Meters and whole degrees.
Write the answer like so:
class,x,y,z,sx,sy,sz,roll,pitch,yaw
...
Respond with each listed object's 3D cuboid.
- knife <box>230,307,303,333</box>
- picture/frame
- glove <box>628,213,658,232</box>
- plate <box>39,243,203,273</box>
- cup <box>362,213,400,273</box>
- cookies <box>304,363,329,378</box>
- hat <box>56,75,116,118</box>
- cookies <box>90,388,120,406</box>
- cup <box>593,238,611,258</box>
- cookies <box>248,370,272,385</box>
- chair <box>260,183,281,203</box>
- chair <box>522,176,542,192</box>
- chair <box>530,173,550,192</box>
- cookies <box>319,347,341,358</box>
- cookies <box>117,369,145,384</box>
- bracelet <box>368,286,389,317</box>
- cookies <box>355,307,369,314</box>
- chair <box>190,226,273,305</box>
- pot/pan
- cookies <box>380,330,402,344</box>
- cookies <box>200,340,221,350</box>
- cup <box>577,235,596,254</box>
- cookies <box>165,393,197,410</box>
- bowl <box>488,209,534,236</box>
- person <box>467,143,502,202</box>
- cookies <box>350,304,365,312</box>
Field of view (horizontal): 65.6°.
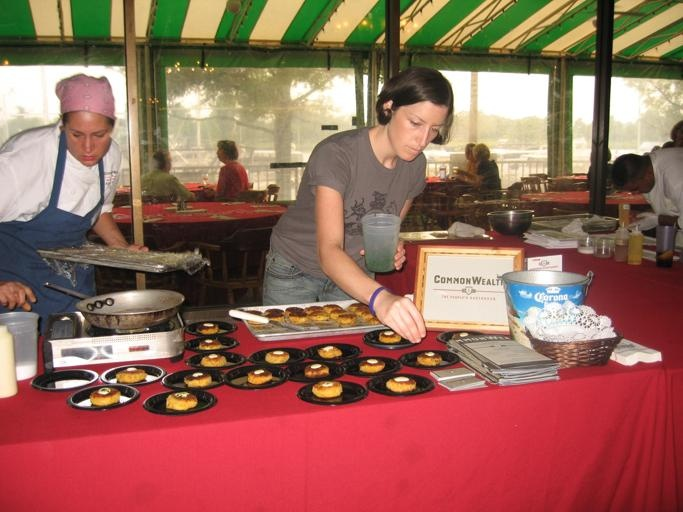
class,x,y,z,sx,sy,sz,roll,pitch,yaw
knife,-0.260,0.222,1.836,0.258,0.022,0.050,11,11,-20
picture/frame,0.429,0.111,1.794,0.046,0.277,0.410,11,-8,-41
glove,1.822,-0.209,3.210,0.134,0.049,0.229,-4,9,44
plate,-0.789,0.005,1.887,0.444,0.077,0.209,5,7,8
cup,0.158,-0.038,1.708,0.190,0.151,0.164,0,2,3
cookies,-0.076,0.329,1.530,0.044,0.011,0.044,4,5,40
hat,-0.957,-0.598,2.007,0.263,0.141,0.173,2,12,17
cookies,-0.629,0.372,1.401,0.069,0.028,0.089,-4,11,-23
cup,1.346,-0.047,2.729,0.115,0.098,0.112,0,-1,0
cookies,-0.237,0.339,1.494,0.045,0.010,0.042,4,8,23
chair,-0.827,-0.733,6.191,0.258,0.235,0.258,-10,22,-29
chair,2.431,-0.925,6.901,0.288,0.210,0.233,-2,2,2
chair,2.580,-0.962,6.893,0.316,0.245,0.235,-2,11,9
cookies,-0.041,0.299,1.649,0.047,0.011,0.036,-2,10,-24
cookies,-0.606,0.342,1.506,0.058,0.013,0.046,5,11,1
bracelet,0.097,0.133,1.592,0.023,0.073,0.078,17,49,-2
cookies,0.070,0.198,1.932,0.056,0.013,0.046,5,8,5
chair,-0.935,0.206,4.404,0.642,0.641,0.612,-2,-3,22
pot/pan,-0.666,0.153,1.622,0.335,0.040,0.186,5,10,23
cookies,0.155,0.267,1.758,0.043,0.011,0.044,12,14,42
cookies,-0.429,0.282,1.701,0.042,0.010,0.038,-3,11,-37
cup,1.300,-0.059,2.832,0.108,0.093,0.109,1,0,0
cookies,-0.421,0.377,1.381,0.079,0.031,0.075,1,10,2
bowl,1.037,-0.210,3.298,0.240,0.092,0.199,-1,3,1
person,1.817,-1.058,6.583,0.471,0.662,0.165,-7,14,-30
cookies,0.054,0.191,1.960,0.056,0.011,0.050,2,5,10
